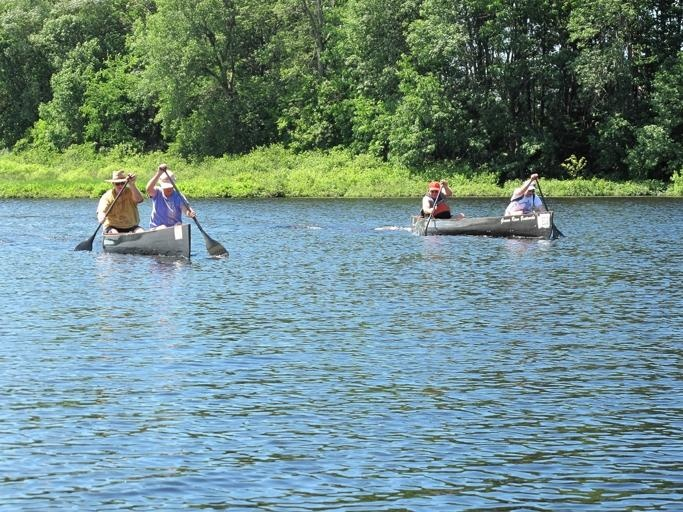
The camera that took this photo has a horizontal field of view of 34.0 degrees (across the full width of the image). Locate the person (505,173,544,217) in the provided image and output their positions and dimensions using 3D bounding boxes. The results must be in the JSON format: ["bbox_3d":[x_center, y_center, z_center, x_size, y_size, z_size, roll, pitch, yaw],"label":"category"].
[{"bbox_3d":[4.778,-1.633,29.074,0.959,1.191,1.773,1,12,9],"label":"person"}]

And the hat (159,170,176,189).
[{"bbox_3d":[-3.973,-1.784,25.644,0.430,0.302,0.435,-3,28,-4],"label":"hat"}]

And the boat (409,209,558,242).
[{"bbox_3d":[3.271,-0.791,29.960,5.439,0.637,1.142,1,1,37],"label":"boat"}]
